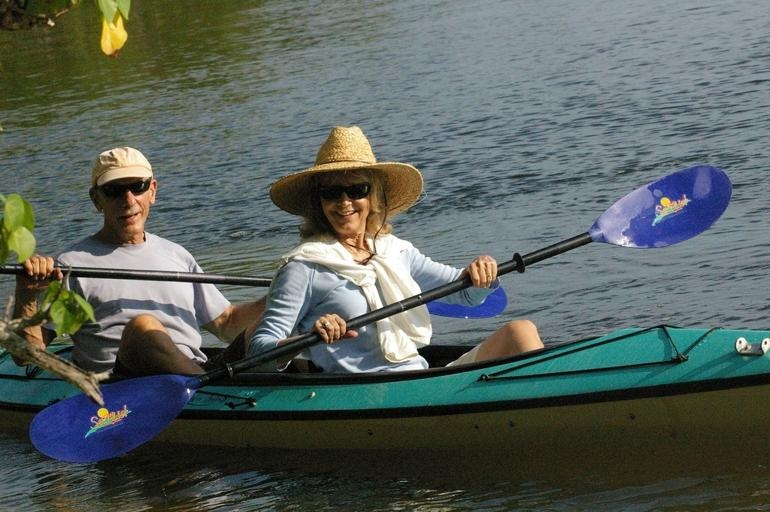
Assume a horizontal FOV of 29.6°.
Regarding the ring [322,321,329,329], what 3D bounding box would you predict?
[{"bbox_3d":[-0.525,0.570,12.097,0.048,0.049,0.029,3,20,31],"label":"ring"}]
